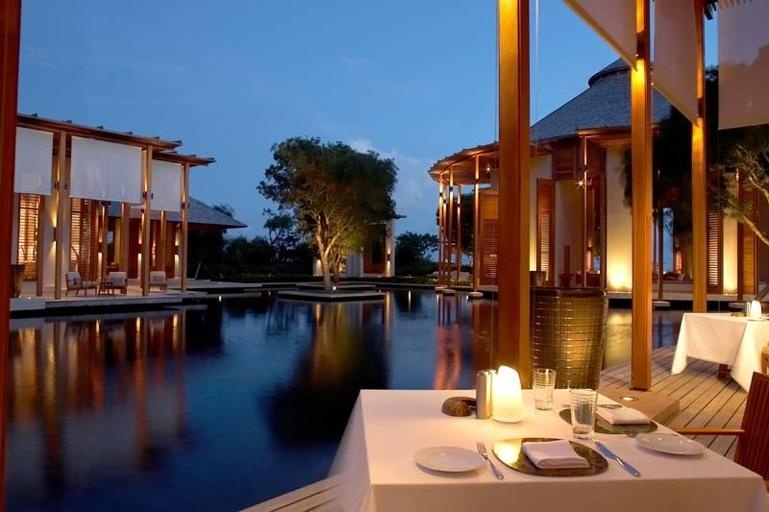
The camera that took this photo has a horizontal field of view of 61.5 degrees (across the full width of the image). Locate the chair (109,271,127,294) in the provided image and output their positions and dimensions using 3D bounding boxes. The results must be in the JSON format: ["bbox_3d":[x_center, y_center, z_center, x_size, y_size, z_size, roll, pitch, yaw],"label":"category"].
[{"bbox_3d":[-7.407,0.712,17.873,0.587,0.839,0.657,1,-1,-23],"label":"chair"}]

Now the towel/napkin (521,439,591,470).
[{"bbox_3d":[1.398,1.645,5.366,0.262,0.093,0.287,-2,8,-3],"label":"towel/napkin"}]

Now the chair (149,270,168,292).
[{"bbox_3d":[-6.866,0.730,19.772,0.676,0.752,0.712,1,-3,-21],"label":"chair"}]
